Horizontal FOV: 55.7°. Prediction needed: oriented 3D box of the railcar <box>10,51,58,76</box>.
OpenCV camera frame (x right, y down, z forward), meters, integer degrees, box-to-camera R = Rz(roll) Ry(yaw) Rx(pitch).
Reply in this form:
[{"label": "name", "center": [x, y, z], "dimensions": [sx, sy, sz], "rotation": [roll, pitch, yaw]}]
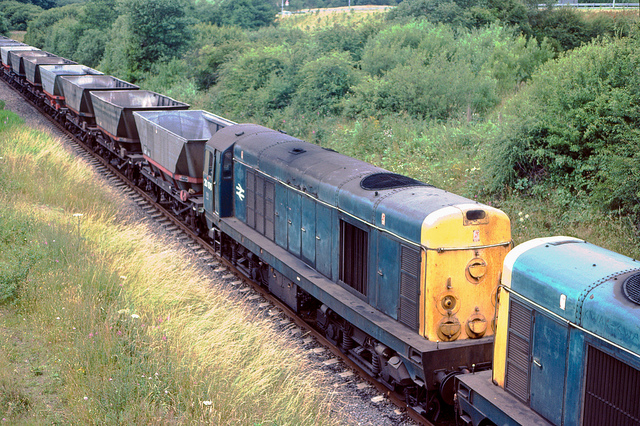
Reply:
[{"label": "railcar", "center": [-19.610, -9.876, 41.439], "dimensions": [3.038, 1.602, 2.088], "rotation": [-3, 7, -30]}]
